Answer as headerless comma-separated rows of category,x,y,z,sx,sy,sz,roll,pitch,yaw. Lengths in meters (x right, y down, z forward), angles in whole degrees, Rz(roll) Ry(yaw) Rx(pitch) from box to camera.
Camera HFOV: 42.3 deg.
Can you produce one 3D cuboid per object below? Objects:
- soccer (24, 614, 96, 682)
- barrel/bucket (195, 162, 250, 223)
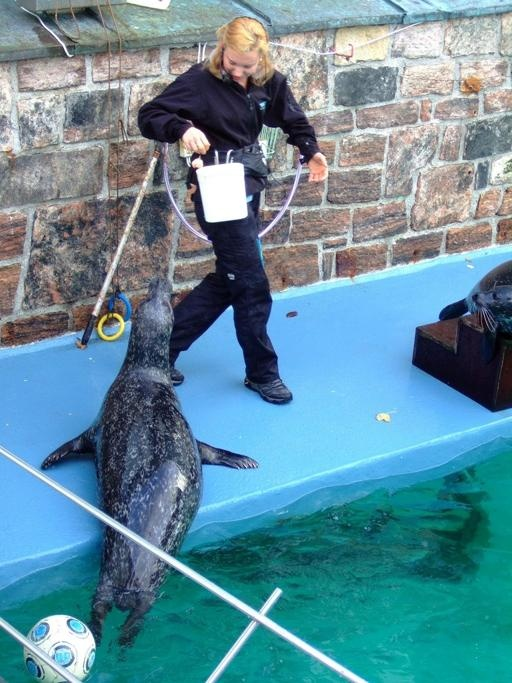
soccer,-0.533,0.856,1.787,0.173,0.219,0.237,-2,13,-14
barrel/bucket,-0.164,-0.691,3.083,0.230,0.259,0.134,0,14,-4
